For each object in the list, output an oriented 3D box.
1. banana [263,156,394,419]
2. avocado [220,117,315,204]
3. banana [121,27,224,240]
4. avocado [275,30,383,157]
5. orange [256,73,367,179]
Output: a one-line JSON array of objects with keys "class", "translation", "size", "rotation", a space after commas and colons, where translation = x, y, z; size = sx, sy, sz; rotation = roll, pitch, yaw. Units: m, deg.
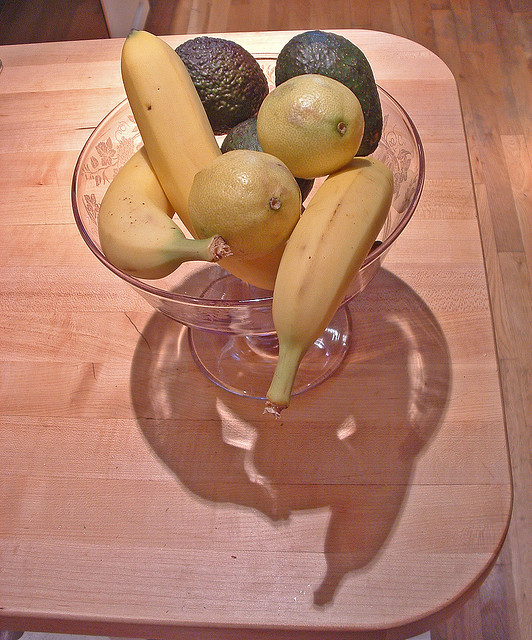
[{"class": "banana", "translation": [0.031, -0.029, 0.363], "size": [0.042, 0.045, 0.160], "rotation": [24, 74, 9]}, {"class": "avocado", "translation": [-0.002, -0.111, 0.477], "size": [0.068, 0.076, 0.062], "rotation": [1, 88, 1]}, {"class": "banana", "translation": [-0.062, -0.141, 0.448], "size": [0.050, 0.057, 0.170], "rotation": [-26, 64, 12]}, {"class": "avocado", "translation": [0.047, -0.171, 0.502], "size": [0.089, 0.088, 0.080], "rotation": [-3, 44, -8]}, {"class": "orange", "translation": [0.029, -0.126, 0.405], "size": [0.079, 0.062, 0.060], "rotation": [-7, 85, 12]}]
